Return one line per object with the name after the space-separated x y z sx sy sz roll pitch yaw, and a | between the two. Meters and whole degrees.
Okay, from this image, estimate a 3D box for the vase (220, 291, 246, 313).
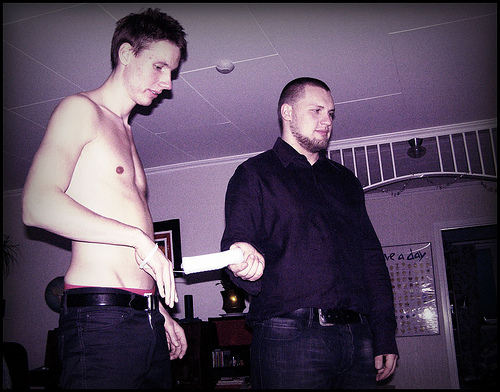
-0.186 1.157 4.524 0.244 0.174 0.241 -1 -20 3 | vase

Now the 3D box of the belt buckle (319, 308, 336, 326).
0.308 0.488 1.656 0.066 0.061 0.016 5 -11 -2 | belt buckle

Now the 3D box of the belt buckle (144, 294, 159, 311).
-0.401 0.438 1.687 0.048 0.063 0.063 0 -3 -9 | belt buckle

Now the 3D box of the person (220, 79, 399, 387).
0.268 0.099 1.880 0.866 1.467 0.356 4 -11 -33 | person

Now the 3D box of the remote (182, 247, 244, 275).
-0.139 0.239 1.529 0.244 0.086 0.091 6 -12 -39 | remote

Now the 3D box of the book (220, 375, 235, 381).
-0.235 1.868 4.240 0.118 0.058 0.026 -1 -23 10 | book
